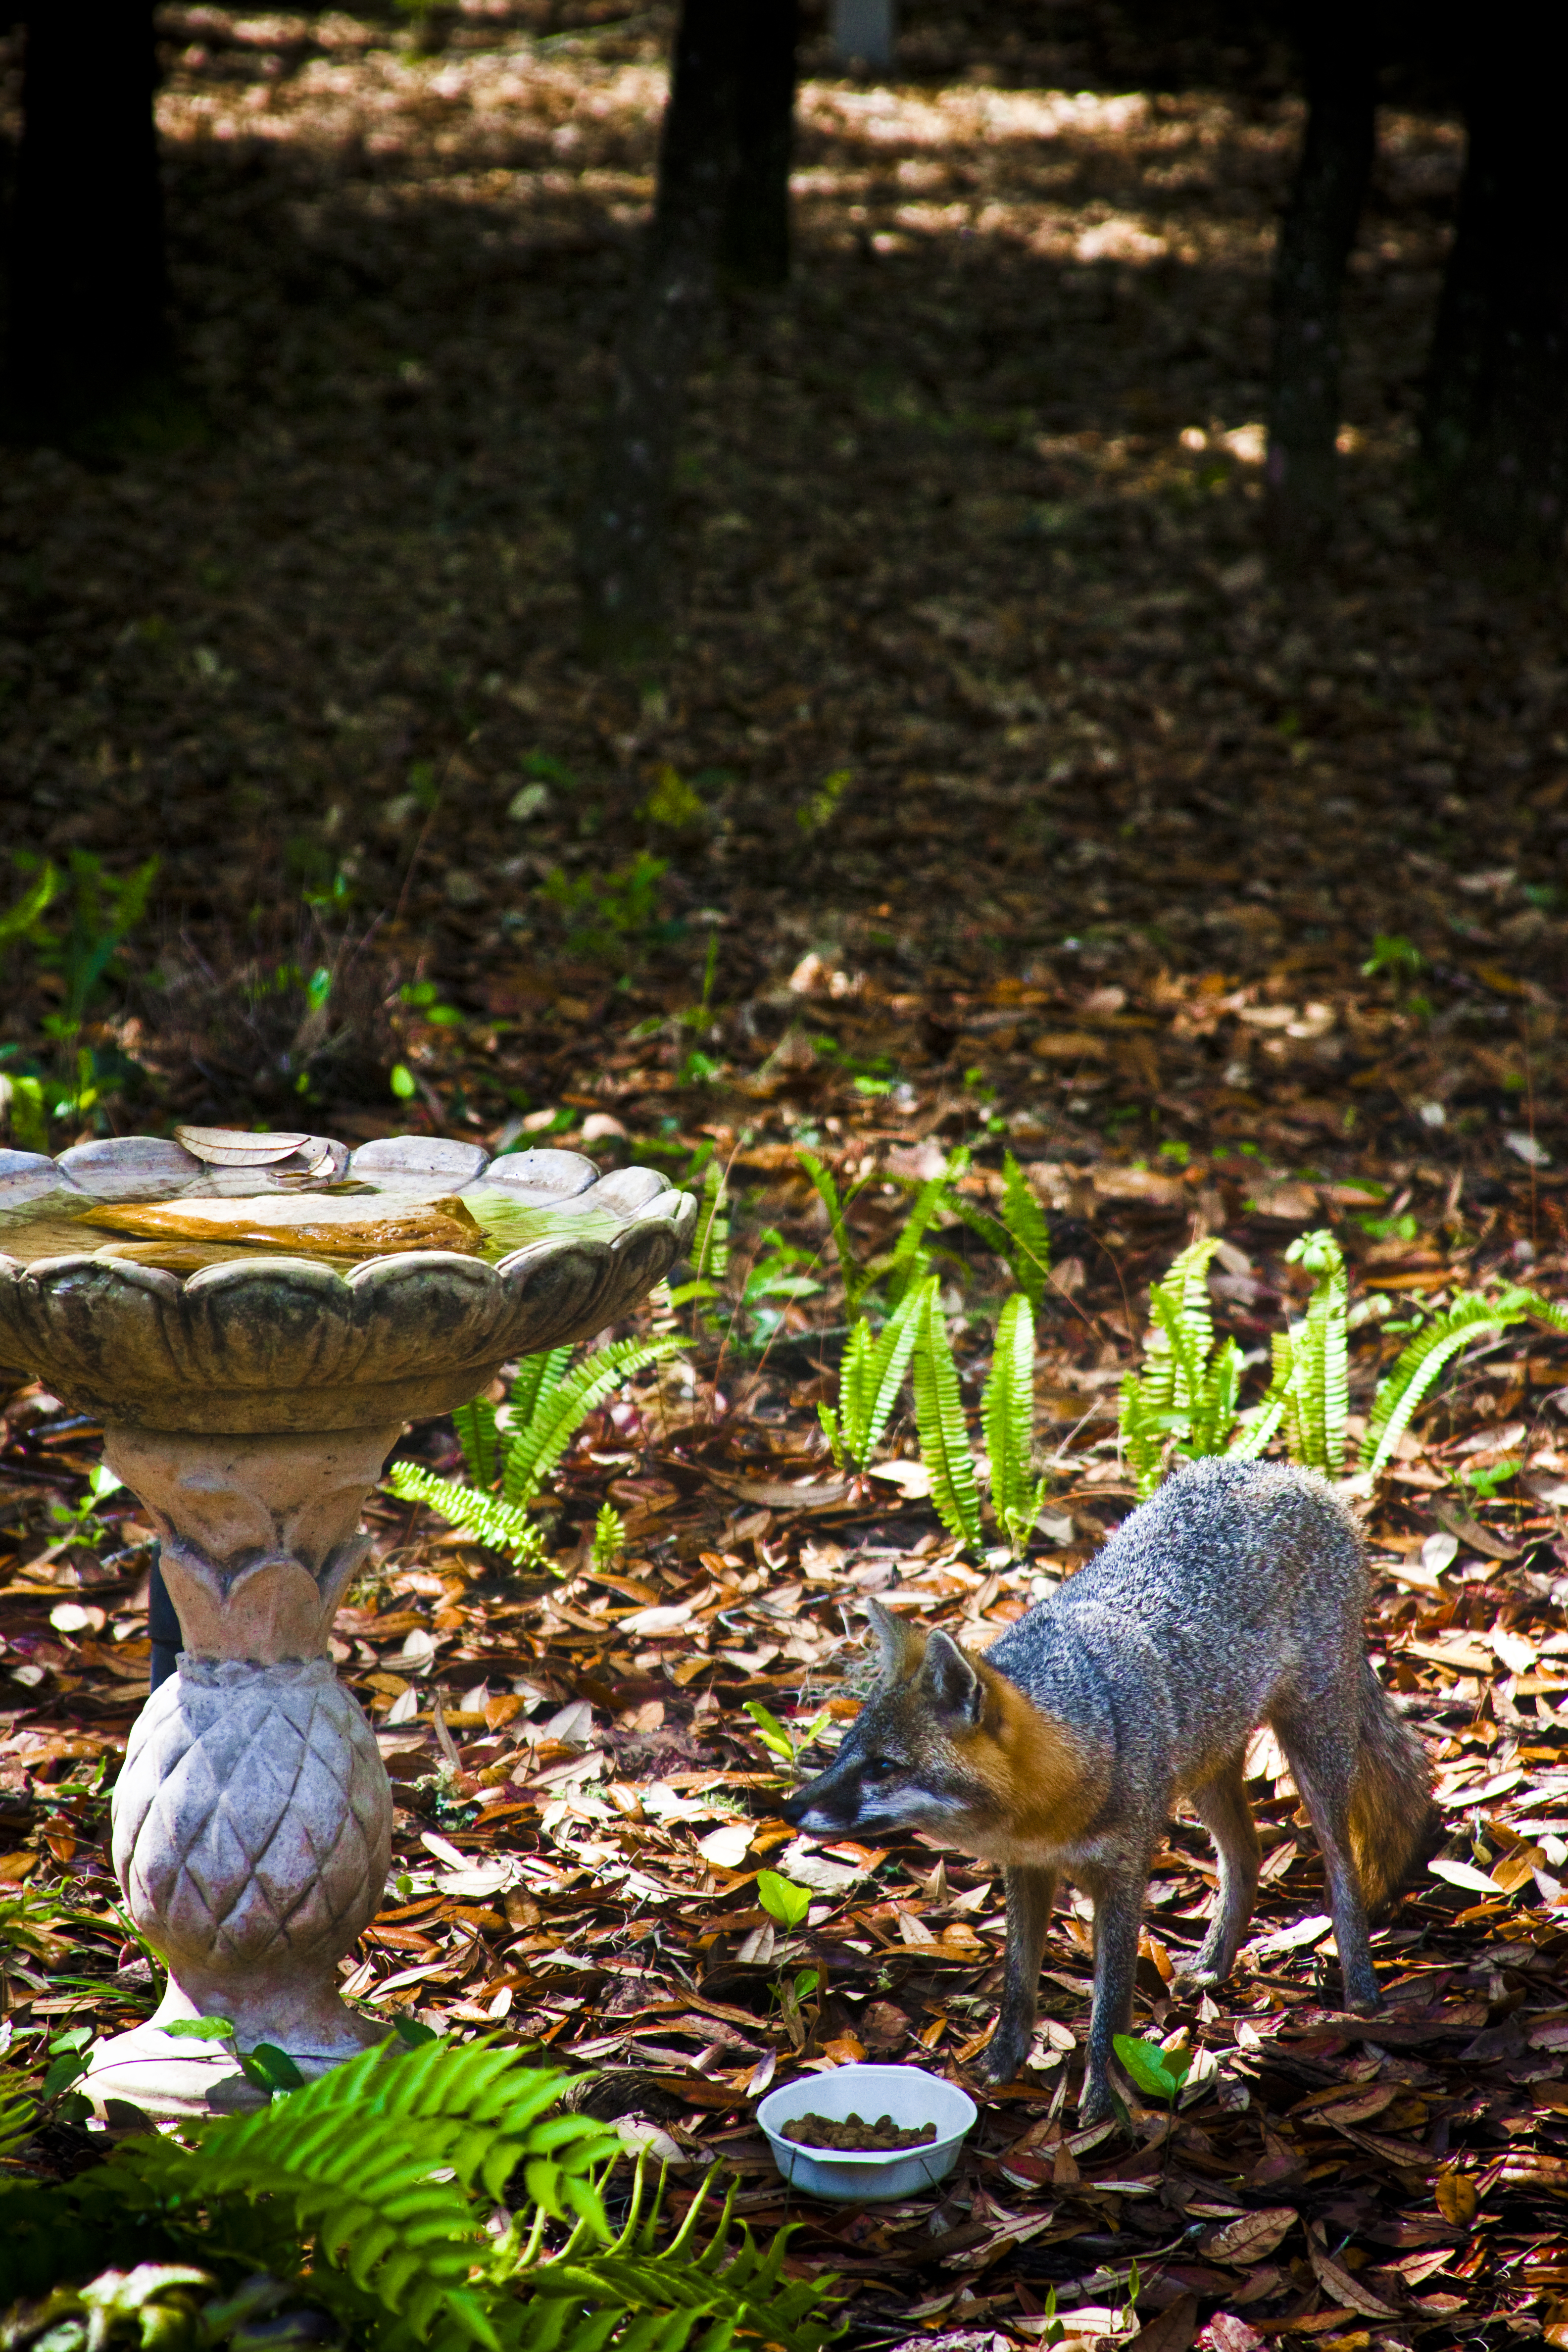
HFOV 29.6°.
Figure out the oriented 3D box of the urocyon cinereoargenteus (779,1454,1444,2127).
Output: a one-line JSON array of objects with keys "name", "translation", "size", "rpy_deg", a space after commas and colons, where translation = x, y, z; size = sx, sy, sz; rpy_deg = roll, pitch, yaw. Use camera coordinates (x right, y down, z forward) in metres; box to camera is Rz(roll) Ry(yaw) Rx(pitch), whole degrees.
[{"name": "urocyon cinereoargenteus", "translation": [0.575, 0.923, 4.459], "size": [0.688, 0.810, 1.065], "rpy_deg": [15, 22, 25]}]
